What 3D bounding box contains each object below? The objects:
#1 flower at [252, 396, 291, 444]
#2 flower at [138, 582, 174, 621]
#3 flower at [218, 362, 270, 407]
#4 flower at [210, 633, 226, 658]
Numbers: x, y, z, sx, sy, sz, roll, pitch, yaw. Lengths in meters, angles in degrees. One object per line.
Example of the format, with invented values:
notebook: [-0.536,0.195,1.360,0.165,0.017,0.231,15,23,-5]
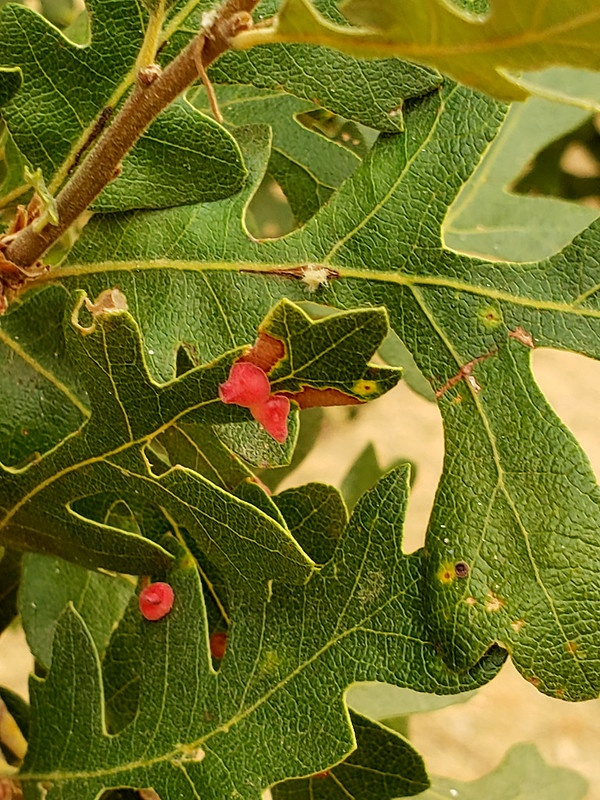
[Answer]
flower: [-0.017,0.009,0.466,0.018,0.025,0.005,-21,34,-13]
flower: [-0.088,0.124,0.531,0.021,0.020,0.022,-12,59,-12]
flower: [-0.028,-0.007,0.455,0.021,0.016,0.023,35,61,17]
flower: [-0.056,0.168,0.586,0.010,0.024,0.016,-2,58,-6]
